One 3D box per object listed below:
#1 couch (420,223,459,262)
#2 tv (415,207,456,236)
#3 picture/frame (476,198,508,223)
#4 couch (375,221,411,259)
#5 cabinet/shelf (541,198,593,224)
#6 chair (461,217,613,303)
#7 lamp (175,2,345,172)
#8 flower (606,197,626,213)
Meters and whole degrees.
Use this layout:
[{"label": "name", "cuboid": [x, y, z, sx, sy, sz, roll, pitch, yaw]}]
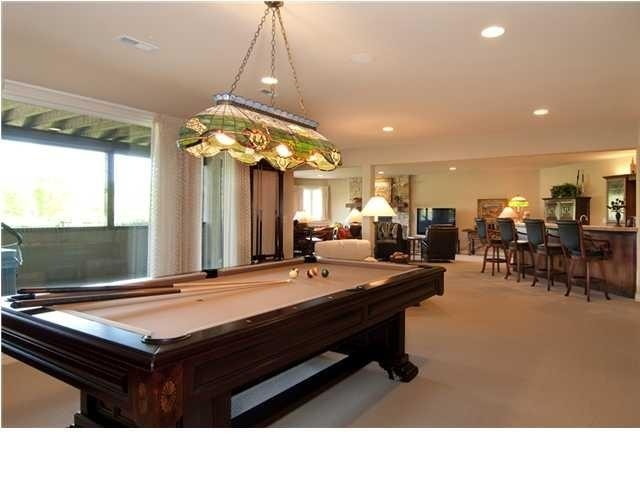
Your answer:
[{"label": "couch", "cuboid": [2.794, 0.089, 10.462, 0.994, 0.998, 0.902, 2, 0, 5]}, {"label": "tv", "cuboid": [3.369, -0.548, 12.107, 1.119, 0.661, 0.037, 3, 5, 40]}, {"label": "picture/frame", "cuboid": [4.814, -0.834, 11.721, 1.196, 0.826, 0.114, 0, -2, 30]}, {"label": "couch", "cuboid": [1.656, 0.016, 9.843, 0.996, 1.058, 0.887, -1, -6, 12]}, {"label": "cabinet/shelf", "cuboid": [5.724, -0.677, 9.690, 0.422, 0.787, 0.964, 1, -2, -10]}, {"label": "chair", "cuboid": [3.750, 0.208, 7.073, 1.009, 1.440, 2.953, -1, 13, -6]}, {"label": "lamp", "cuboid": [-0.361, -1.139, 3.256, 1.042, 1.208, 1.810, 1, 14, 2]}, {"label": "flower", "cuboid": [6.111, -0.726, 8.704, 0.328, 0.149, 0.320, -3, -3, 43]}]
